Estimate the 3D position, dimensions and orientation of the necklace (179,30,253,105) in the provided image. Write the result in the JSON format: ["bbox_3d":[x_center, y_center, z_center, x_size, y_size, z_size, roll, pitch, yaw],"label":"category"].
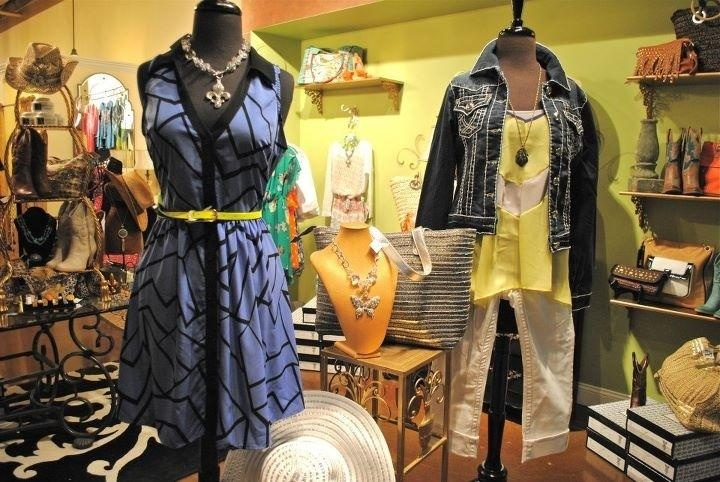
[{"bbox_3d":[-0.596,-0.702,2.322,0.292,0.349,0.168,-1,-18,-2],"label":"necklace"}]

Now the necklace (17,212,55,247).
[{"bbox_3d":[-2.248,-0.072,3.915,0.212,0.236,0.127,-5,-5,-40],"label":"necklace"}]

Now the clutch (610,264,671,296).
[{"bbox_3d":[1.853,0.266,3.793,0.311,0.188,0.336,-7,14,-37],"label":"clutch"}]

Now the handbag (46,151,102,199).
[{"bbox_3d":[-1.860,-0.427,3.673,0.298,0.287,0.178,-3,9,-22],"label":"handbag"}]

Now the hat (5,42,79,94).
[{"bbox_3d":[-2.025,-1.095,3.597,0.426,0.292,0.310,6,10,31],"label":"hat"}]

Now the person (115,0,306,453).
[{"bbox_3d":[-0.609,0.009,2.317,0.751,1.629,0.324,0,8,-4],"label":"person"}]

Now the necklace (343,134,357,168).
[{"bbox_3d":[-0.081,-0.843,5.278,0.146,0.279,0.077,2,-8,13],"label":"necklace"}]

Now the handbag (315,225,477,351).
[{"bbox_3d":[0.200,0.228,2.786,0.608,0.440,0.240,2,4,10],"label":"handbag"}]

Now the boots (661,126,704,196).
[{"bbox_3d":[2.063,-0.506,3.599,0.203,0.414,0.202,-2,9,-16],"label":"boots"}]

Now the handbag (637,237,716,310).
[{"bbox_3d":[2.084,0.226,3.690,0.406,0.382,0.230,8,-9,39],"label":"handbag"}]

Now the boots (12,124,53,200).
[{"bbox_3d":[-2.049,-0.488,3.513,0.204,0.440,0.161,-4,10,-31],"label":"boots"}]

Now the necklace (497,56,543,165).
[{"bbox_3d":[0.815,-0.687,2.902,0.270,0.501,0.122,-2,-1,0],"label":"necklace"}]

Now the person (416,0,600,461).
[{"bbox_3d":[0.756,-0.041,2.871,0.895,2.271,0.347,1,8,5],"label":"person"}]
